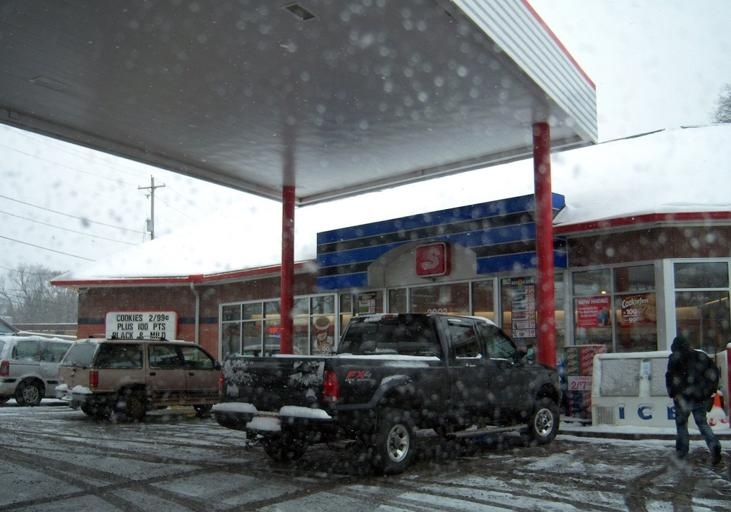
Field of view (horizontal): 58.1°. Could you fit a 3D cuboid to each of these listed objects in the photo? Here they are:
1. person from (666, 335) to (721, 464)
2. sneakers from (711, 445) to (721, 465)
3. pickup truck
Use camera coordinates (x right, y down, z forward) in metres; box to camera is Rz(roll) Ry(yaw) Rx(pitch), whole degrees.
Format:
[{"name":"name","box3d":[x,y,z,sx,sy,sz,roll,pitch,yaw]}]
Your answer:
[{"name":"person","box3d":[5.886,2.552,11.830,0.842,2.151,0.882,-1,-3,25]},{"name":"sneakers","box3d":[6.037,3.412,11.337,0.133,0.390,0.178,-3,0,18]},{"name":"pickup truck","box3d":[0.739,2.402,12.548,5.891,2.015,2.613,6,-9,-41]}]
